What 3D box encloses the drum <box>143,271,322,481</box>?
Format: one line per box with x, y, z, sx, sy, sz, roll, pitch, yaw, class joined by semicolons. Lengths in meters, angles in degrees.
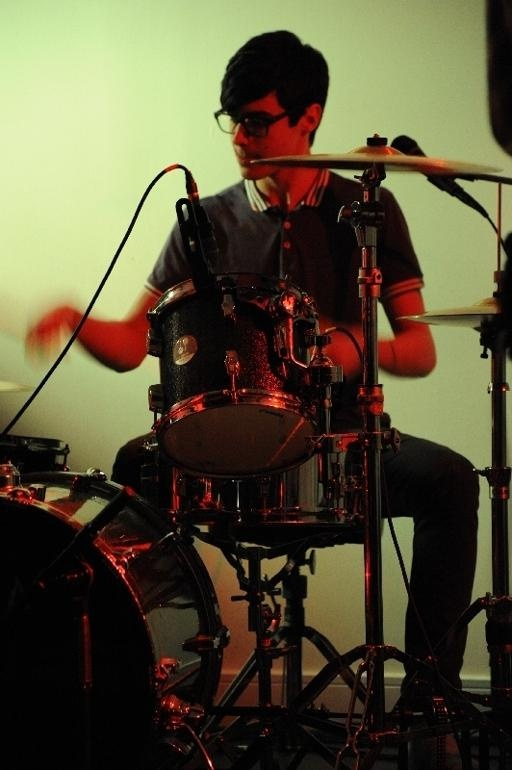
-0.040;0.001;1.774;0.316;0.271;0.330;-29;-37;31;drum

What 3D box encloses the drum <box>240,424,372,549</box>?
0.089;0.179;1.805;0.212;0.154;0.225;0;-1;0;drum
